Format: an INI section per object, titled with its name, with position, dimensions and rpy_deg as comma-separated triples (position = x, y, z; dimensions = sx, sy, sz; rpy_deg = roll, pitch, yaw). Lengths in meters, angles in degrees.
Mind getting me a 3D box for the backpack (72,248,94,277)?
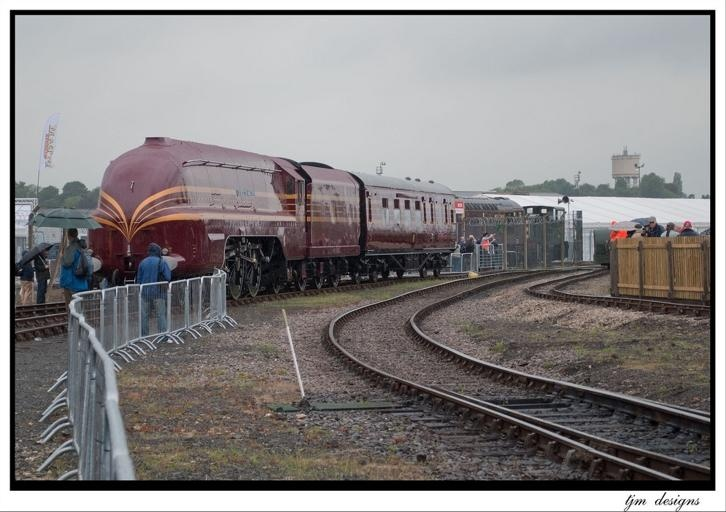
[backpack]
position = -6.951, 0.139, 14.948
dimensions = 0.242, 0.710, 0.495
rpy_deg = -2, 2, 14
